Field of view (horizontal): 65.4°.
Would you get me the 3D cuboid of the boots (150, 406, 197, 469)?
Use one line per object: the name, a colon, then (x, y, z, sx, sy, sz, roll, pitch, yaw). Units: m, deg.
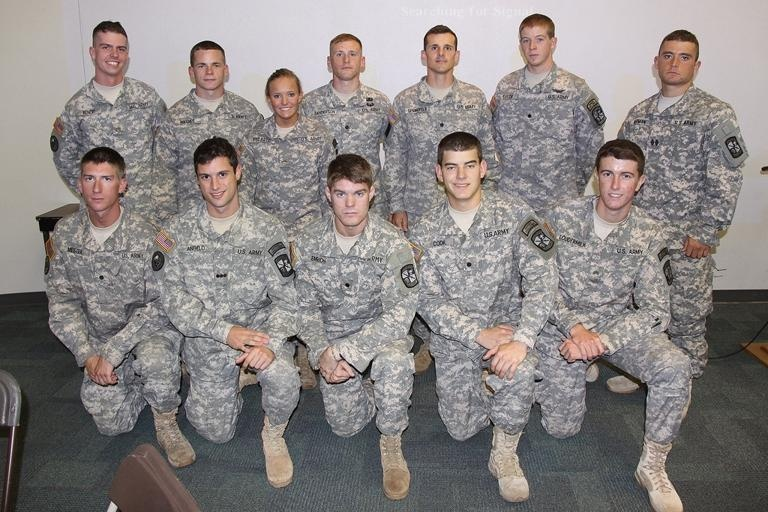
boots: (-1.401, 1.189, 3.992, 0.169, 0.277, 0.473, -13, 24, -32)

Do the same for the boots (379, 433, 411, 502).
boots: (0.064, 1.330, 3.744, 0.145, 0.158, 0.408, -3, 27, 0)

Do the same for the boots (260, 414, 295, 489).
boots: (-0.686, 1.257, 3.875, 0.168, 0.269, 0.464, -8, 29, -14)

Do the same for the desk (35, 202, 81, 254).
desk: (-2.603, -0.252, 4.809, 0.310, 0.215, 0.459, -7, 25, -10)
